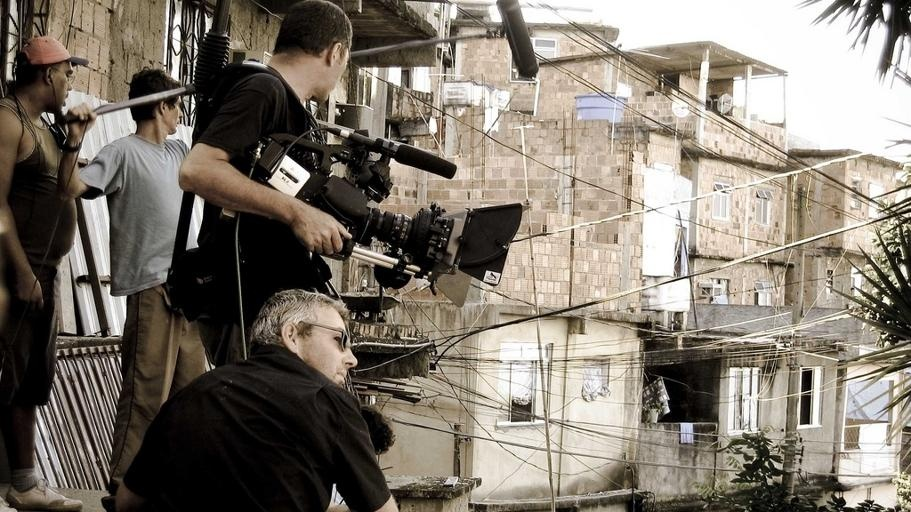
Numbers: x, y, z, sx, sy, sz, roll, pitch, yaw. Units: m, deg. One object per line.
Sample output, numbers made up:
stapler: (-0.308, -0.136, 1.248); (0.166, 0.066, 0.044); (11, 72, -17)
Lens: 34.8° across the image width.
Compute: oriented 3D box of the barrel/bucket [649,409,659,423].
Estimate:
barrel/bucket: (5.328, 4.325, 39.034); (0.149, 0.332, 0.564); (-4, -12, 31)

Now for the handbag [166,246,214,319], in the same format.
handbag: (-4.040, 0.410, 22.259); (0.780, 1.013, 0.355); (0, 10, -3)

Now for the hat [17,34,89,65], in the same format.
hat: (-6.355, -3.170, 22.789); (0.838, 0.414, 0.521); (-8, 5, -13)

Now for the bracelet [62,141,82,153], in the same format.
bracelet: (-6.032, -1.684, 22.590); (0.395, 0.161, 0.206); (-4, -12, 30)
